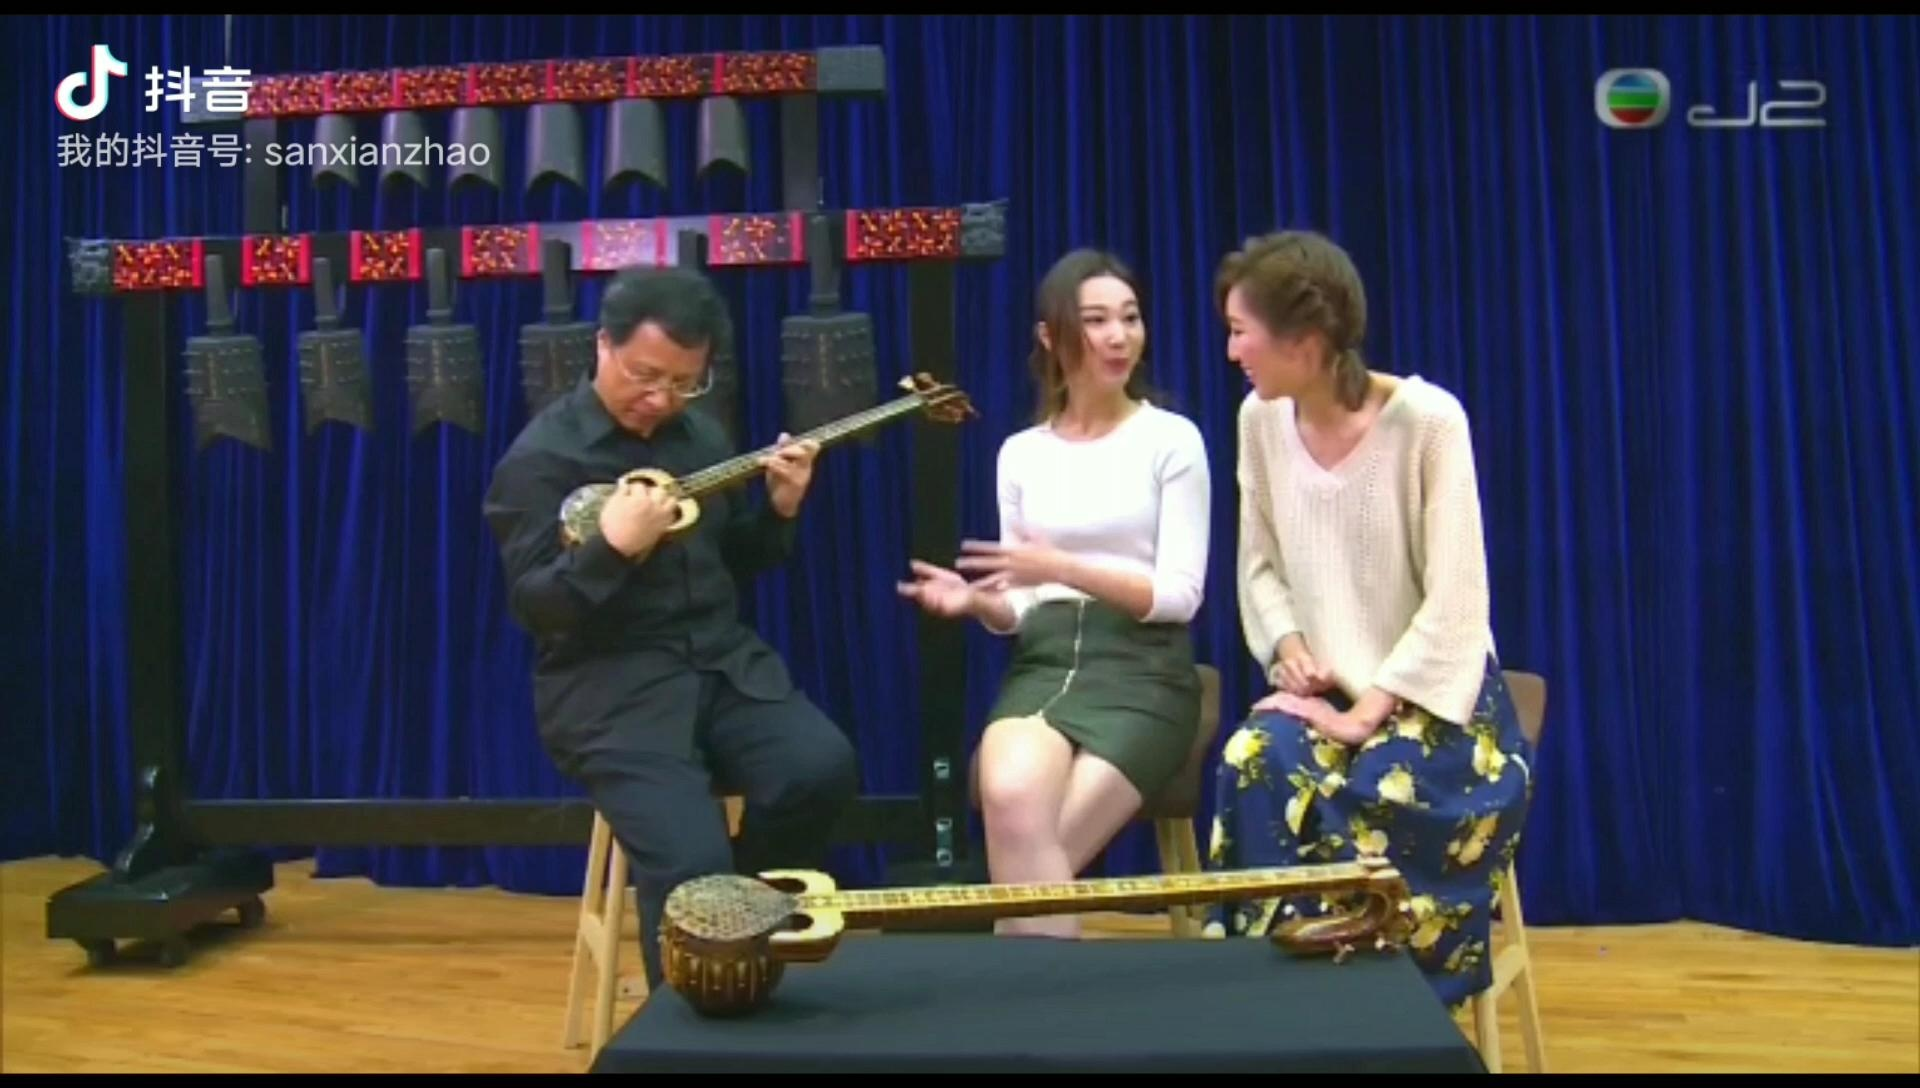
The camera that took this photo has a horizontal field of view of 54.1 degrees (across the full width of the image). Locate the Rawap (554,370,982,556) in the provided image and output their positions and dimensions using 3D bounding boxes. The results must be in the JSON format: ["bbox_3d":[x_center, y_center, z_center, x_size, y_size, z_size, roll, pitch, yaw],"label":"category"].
[{"bbox_3d":[-0.506,-0.216,4.686,0.563,0.171,0.054,-23,-15,-27],"label":"Rawap"}]

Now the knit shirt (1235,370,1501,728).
[{"bbox_3d":[0.974,0.020,4.634,0.516,0.883,0.598,1,1,19],"label":"knit shirt"}]

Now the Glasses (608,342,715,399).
[{"bbox_3d":[-0.738,-0.421,4.472,0.158,0.087,0.188,0,-4,-19],"label":"Glasses"}]

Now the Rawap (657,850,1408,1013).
[{"bbox_3d":[0.134,0.786,3.820,1.490,0.276,0.330,-2,20,1],"label":"Rawap"}]

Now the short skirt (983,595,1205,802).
[{"bbox_3d":[0.401,0.360,4.738,0.565,0.494,0.499,3,-3,21],"label":"short skirt"}]

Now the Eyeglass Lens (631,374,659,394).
[{"bbox_3d":[-0.757,-0.385,4.484,0.060,0.033,0.015,27,34,12],"label":"Eyeglass Lens"}]
